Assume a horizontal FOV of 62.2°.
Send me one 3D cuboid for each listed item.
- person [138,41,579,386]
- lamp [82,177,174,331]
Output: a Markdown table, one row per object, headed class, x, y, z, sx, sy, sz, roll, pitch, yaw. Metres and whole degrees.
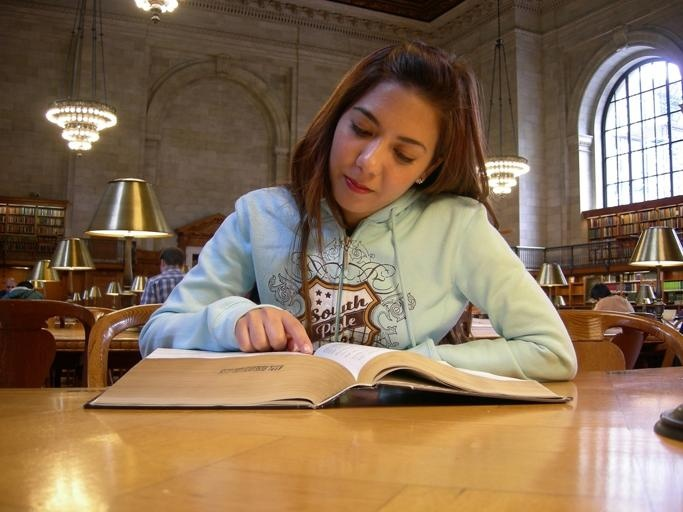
| class | x | y | z | sx | sy | sz | roll | pitch | yaw |
| --- | --- | --- | --- | --- | --- | --- | --- | --- | --- |
| person | 0.016 | -0.131 | 1.217 | 0.805 | 0.723 | 0.577 | 0 | 3 | -18 |
| lamp | -1.174 | -0.104 | 3.027 | 0.400 | 0.633 | 0.403 | 2 | 11 | 30 |
